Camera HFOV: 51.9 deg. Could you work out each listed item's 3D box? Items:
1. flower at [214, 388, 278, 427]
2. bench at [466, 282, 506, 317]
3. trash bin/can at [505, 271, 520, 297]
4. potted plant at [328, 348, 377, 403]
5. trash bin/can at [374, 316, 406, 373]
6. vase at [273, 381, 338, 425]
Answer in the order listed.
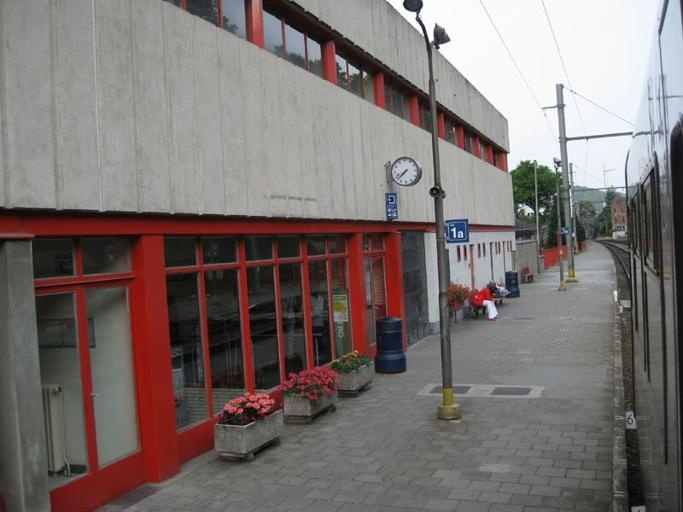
[{"bbox_3d":[-1.395,2.420,11.335,0.587,0.412,0.835,-7,-1,30],"label":"flower"},{"bbox_3d":[5.523,1.673,27.367,0.851,1.443,2.728,1,6,33],"label":"bench"},{"bbox_3d":[8.003,1.311,32.987,0.558,1.240,0.749,-6,0,7],"label":"trash bin/can"},{"bbox_3d":[0.165,2.454,14.929,0.662,0.803,1.055,-1,1,24],"label":"potted plant"},{"bbox_3d":[1.167,2.138,16.965,0.998,1.673,1.083,-1,-2,-1],"label":"trash bin/can"},{"bbox_3d":[-0.563,2.628,13.034,0.603,0.845,1.033,-6,0,45],"label":"vase"}]
